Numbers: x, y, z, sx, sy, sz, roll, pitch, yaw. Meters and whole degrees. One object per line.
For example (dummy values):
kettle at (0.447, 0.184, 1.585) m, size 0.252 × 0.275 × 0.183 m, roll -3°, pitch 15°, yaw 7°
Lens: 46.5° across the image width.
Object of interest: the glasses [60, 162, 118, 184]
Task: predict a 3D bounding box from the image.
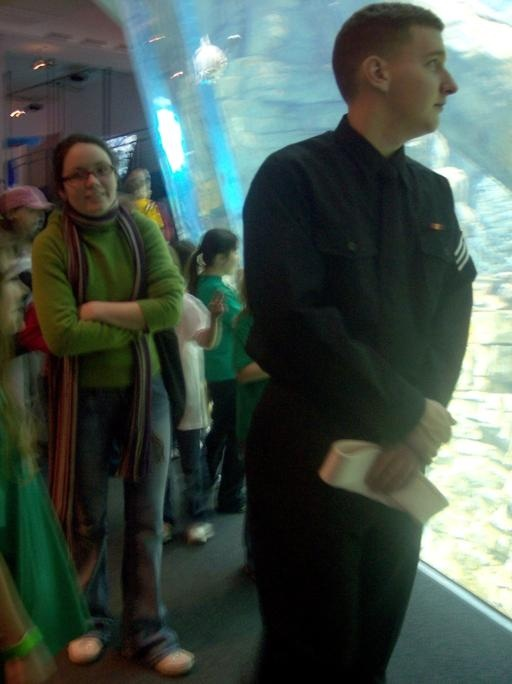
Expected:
glasses at (-0.433, -0.442, 1.562) m, size 0.075 × 0.020 × 0.071 m, roll -9°, pitch -10°, yaw -23°

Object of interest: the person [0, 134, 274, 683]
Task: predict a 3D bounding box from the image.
person at (-0.403, 0.191, 1.649) m, size 0.487 × 1.488 × 0.305 m, roll -8°, pitch 11°, yaw -4°

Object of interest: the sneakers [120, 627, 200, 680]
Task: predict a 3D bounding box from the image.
sneakers at (-0.274, 0.866, 1.716) m, size 0.200 × 0.090 × 0.106 m, roll 5°, pitch 0°, yaw 37°
